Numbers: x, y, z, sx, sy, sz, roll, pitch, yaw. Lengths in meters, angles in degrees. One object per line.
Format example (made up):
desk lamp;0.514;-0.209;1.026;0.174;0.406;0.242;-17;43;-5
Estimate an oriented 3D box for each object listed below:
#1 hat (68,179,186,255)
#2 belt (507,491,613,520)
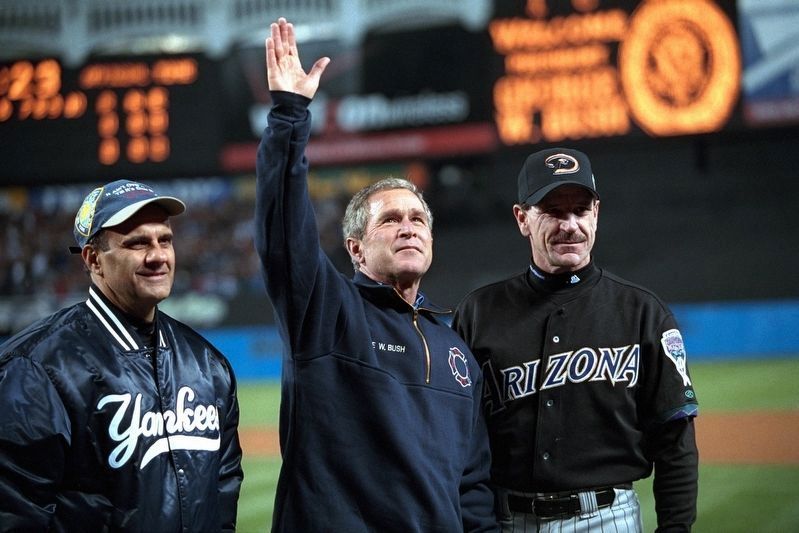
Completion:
hat;-1.563;-0.332;9.111;0.449;0.291;0.595;-14;-13;-46
belt;0.915;1.328;9.123;0.600;0.107;0.072;-6;-4;4
